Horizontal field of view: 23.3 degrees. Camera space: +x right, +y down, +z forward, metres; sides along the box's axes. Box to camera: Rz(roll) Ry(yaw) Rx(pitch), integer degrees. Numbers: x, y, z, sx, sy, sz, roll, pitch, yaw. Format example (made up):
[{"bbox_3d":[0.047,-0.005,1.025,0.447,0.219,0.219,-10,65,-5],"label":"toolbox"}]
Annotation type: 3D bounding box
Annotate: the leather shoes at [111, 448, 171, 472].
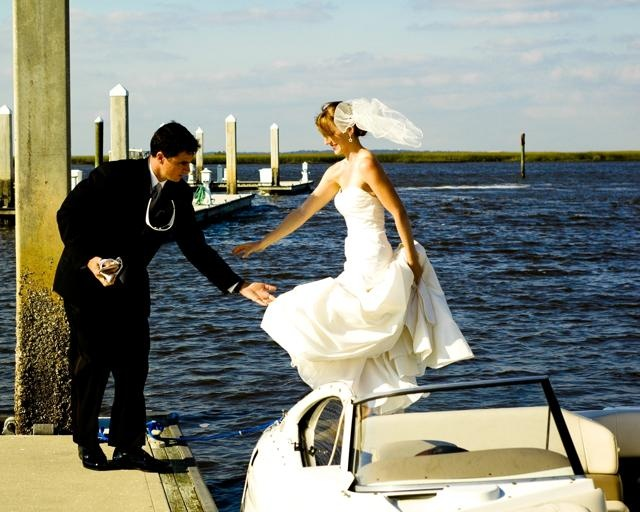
[{"bbox_3d":[-1.441,1.577,12.139,0.546,0.196,0.170,2,5,-9],"label":"leather shoes"}]
